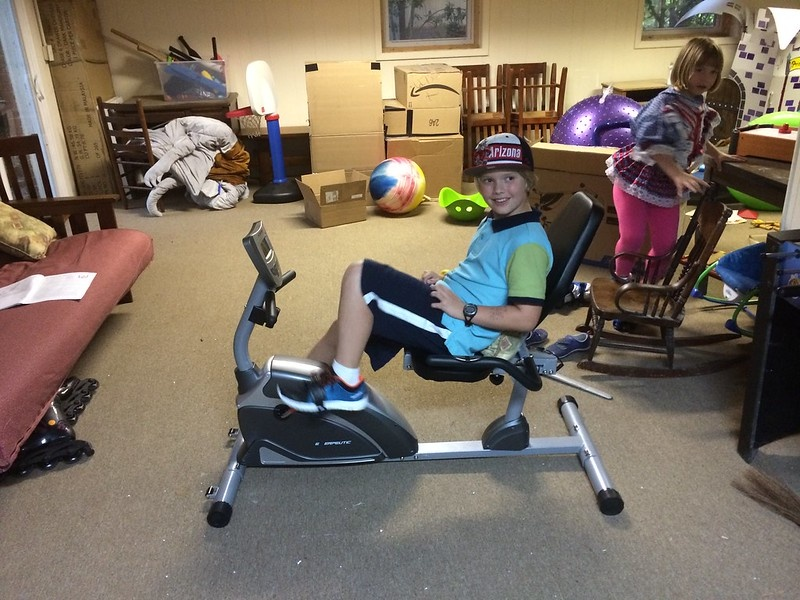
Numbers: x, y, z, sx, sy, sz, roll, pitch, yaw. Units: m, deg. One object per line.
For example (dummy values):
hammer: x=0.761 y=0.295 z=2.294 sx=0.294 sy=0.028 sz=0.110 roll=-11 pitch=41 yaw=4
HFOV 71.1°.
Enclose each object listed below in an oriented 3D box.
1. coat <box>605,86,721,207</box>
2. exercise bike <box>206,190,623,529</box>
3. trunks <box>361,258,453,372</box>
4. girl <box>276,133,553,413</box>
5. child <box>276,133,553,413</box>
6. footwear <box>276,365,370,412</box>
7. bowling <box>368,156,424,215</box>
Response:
coat: x=1.370 y=-0.840 z=2.959 sx=0.543 sy=0.556 sz=0.424 roll=-12 pitch=27 yaw=-31
exercise bike: x=0.036 y=0.204 z=2.105 sx=1.422 sy=0.921 sz=0.833 roll=-1 pitch=15 yaw=-3
trunks: x=-0.009 y=0.088 z=1.955 sx=0.381 sy=0.138 sz=0.320 roll=30 pitch=3 yaw=-23
girl: x=0.009 y=-0.121 z=2.026 sx=1.111 sy=0.934 sz=0.538 roll=1 pitch=11 yaw=-7
child: x=0.016 y=-0.132 z=2.041 sx=1.105 sy=0.927 sz=0.512 roll=2 pitch=11 yaw=-1
footwear: x=-0.291 y=0.306 z=2.030 sx=0.336 sy=0.152 sz=0.128 roll=0 pitch=31 yaw=-15
bowling: x=-0.026 y=-1.003 z=4.801 sx=0.494 sy=0.560 sz=0.487 roll=1 pitch=31 yaw=-2
